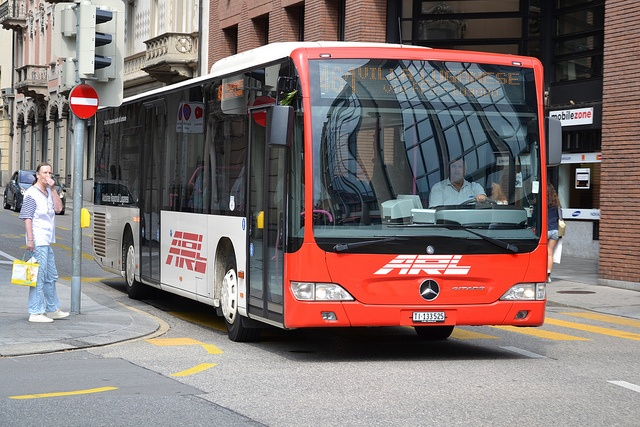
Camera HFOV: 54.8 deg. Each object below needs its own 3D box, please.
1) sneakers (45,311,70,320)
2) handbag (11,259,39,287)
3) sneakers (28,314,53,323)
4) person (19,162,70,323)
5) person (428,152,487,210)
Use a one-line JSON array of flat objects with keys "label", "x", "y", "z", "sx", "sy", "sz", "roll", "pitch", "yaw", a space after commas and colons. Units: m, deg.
[{"label": "sneakers", "x": -4.120, "y": 1.605, "z": 9.788, "sx": 0.318, "sy": 0.134, "sz": 0.113, "roll": -1, "pitch": 6, "yaw": -30}, {"label": "handbag", "x": -4.394, "y": 0.804, "z": 9.377, "sx": 0.375, "sy": 0.565, "sz": 0.179, "roll": 8, "pitch": 5, "yaw": -9}, {"label": "sneakers", "x": -4.212, "y": 1.598, "z": 9.452, "sx": 0.376, "sy": 0.160, "sz": 0.132, "roll": 1, "pitch": 0, "yaw": -6}, {"label": "person", "x": -4.267, "y": 0.427, "z": 9.631, "sx": 0.567, "sy": 2.503, "sz": 0.704, "roll": 1, "pitch": -7, "yaw": -6}, {"label": "person", "x": 1.703, "y": -0.343, "z": 7.714, "sx": 0.717, "sy": 0.647, "sz": 0.406, "roll": -1, "pitch": -5, "yaw": -3}]
